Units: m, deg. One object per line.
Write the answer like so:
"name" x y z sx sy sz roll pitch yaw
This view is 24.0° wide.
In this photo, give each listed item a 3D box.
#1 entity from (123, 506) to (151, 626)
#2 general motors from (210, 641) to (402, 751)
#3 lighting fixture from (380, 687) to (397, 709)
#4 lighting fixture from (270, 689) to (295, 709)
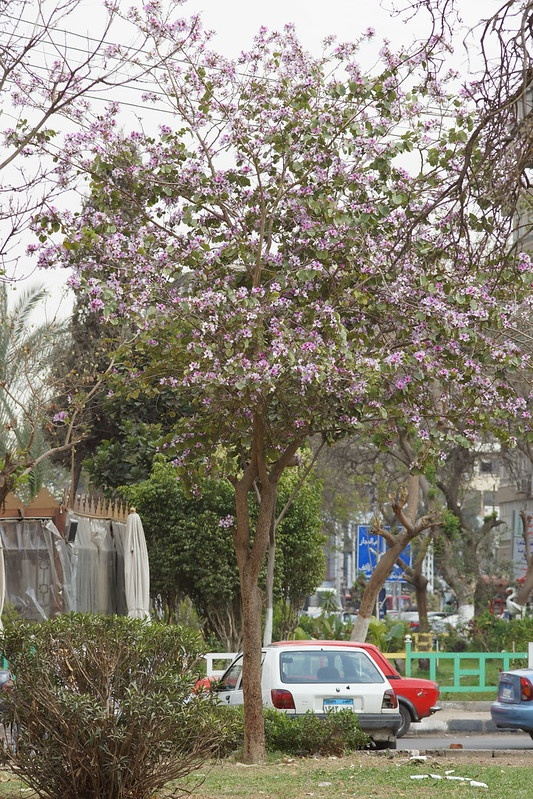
"entity" -1.665 2.134 16.131 0.367 1.404 0.326 -4 6 -38
"general motors" 0.664 3.223 14.134 1.370 0.948 2.181 1 -2 -11
"lighting fixture" 1.380 3.450 14.322 0.141 0.100 0.229 2 -27 -2
"lighting fixture" 0.175 3.352 13.942 0.170 0.247 0.066 -2 2 -8
